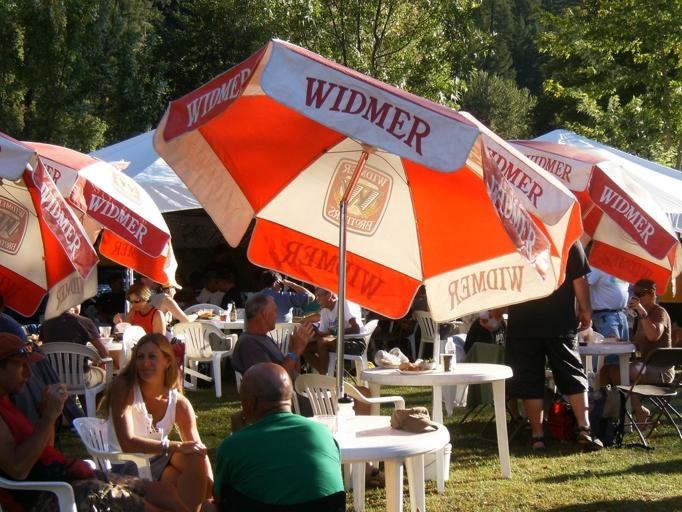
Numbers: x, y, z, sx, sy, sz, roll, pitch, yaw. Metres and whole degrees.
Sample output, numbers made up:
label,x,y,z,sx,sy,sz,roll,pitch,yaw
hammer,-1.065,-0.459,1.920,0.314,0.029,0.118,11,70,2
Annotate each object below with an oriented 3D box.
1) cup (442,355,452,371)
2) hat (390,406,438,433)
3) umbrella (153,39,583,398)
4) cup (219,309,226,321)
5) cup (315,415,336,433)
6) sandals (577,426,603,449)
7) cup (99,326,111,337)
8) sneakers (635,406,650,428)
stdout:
label,x,y,z,sx,sy,sz,roll,pitch,yaw
cup,1.013,1.008,8.600,0.116,0.155,0.126,0,-2,0
hat,0.588,1.278,7.129,0.237,0.111,0.207,-2,-4,-32
umbrella,0.248,-0.205,7.209,3.326,2.481,2.200,-1,-8,9
cup,-1.721,0.852,13.167,0.120,0.167,0.118,0,-18,0
cup,-0.129,1.255,6.831,0.149,0.115,0.304,-2,-9,15
sandals,2.618,1.894,9.577,0.136,0.180,0.402,-14,-35,33
cup,-2.977,0.950,11.495,0.150,0.163,0.141,1,3,0
sneakers,3.501,1.842,10.516,0.130,0.371,0.124,6,-17,-8
